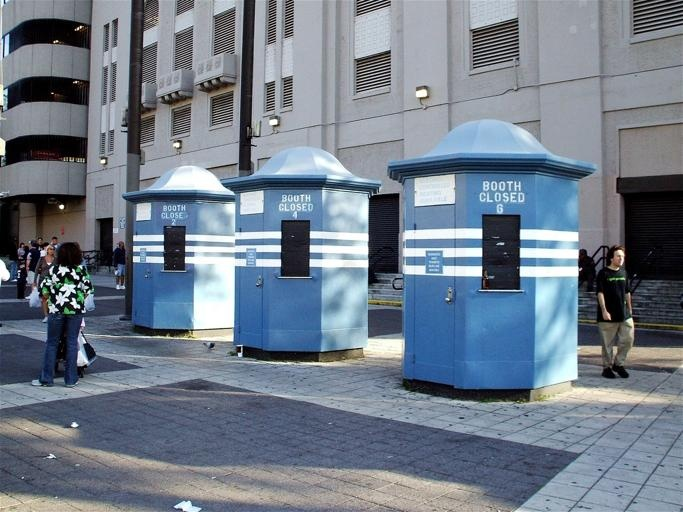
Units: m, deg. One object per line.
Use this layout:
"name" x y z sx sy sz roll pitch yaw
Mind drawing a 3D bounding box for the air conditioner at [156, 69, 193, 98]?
"air conditioner" -8.190 -8.477 36.721 0.606 0.882 1.840 7 -7 -42

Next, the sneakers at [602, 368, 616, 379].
"sneakers" 4.652 2.045 12.950 0.246 0.237 0.118 -2 -2 18

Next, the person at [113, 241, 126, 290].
"person" -9.031 0.399 30.237 0.399 1.893 1.568 -1 7 -15

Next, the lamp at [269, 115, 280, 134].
"lamp" -2.818 -5.511 31.088 0.559 0.718 0.299 4 8 26

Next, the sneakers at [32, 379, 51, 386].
"sneakers" -4.822 2.055 11.938 0.282 0.130 0.122 7 -1 1

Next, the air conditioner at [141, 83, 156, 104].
"air conditioner" -10.043 -8.424 38.920 0.722 1.268 0.790 -1 8 -16

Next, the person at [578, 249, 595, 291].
"person" 7.027 0.397 21.218 0.356 1.100 0.593 -3 8 -27

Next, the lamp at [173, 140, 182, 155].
"lamp" -8.288 -5.532 37.591 0.412 0.700 0.919 -3 8 -30

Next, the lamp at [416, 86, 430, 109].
"lamp" 2.829 -5.544 25.964 0.478 0.795 0.403 4 8 26

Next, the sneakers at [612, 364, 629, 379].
"sneakers" 4.899 2.030 13.024 0.127 0.157 0.371 -3 -14 1

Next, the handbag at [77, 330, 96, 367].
"handbag" -4.475 1.646 13.020 0.285 0.723 0.731 -1 -4 -3

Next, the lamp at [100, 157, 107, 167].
"lamp" -14.087 -5.596 44.025 0.339 0.584 0.631 3 -3 -43

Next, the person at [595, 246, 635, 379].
"person" 4.733 0.975 12.862 0.615 2.273 0.455 2 7 11

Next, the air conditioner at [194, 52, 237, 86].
"air conditioner" -5.856 -8.498 34.512 0.853 1.309 2.648 -2 3 -39

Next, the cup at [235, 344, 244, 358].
"cup" -1.969 1.815 14.402 0.129 0.255 0.379 -1 7 -12

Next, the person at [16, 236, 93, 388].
"person" -4.507 0.931 11.978 0.818 2.293 0.527 -1 7 -13
